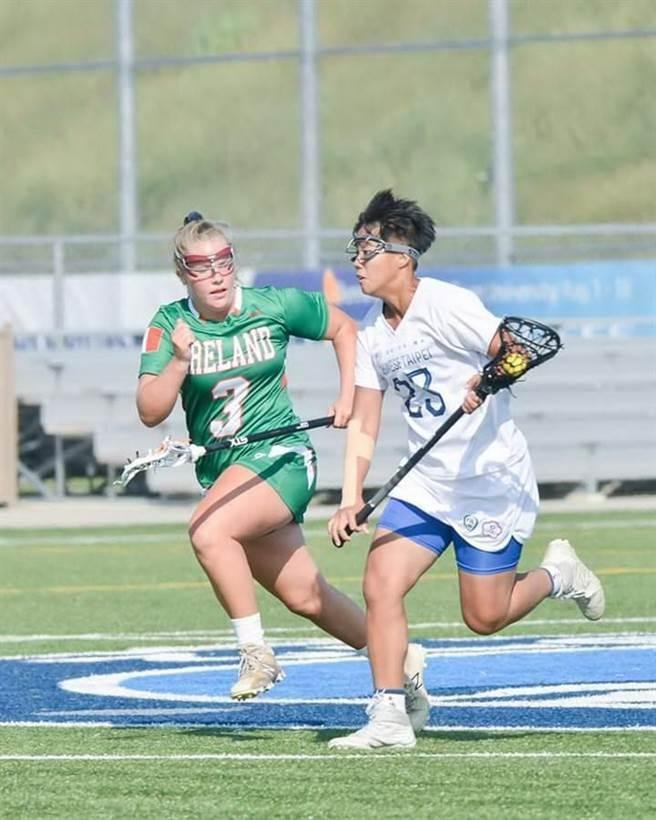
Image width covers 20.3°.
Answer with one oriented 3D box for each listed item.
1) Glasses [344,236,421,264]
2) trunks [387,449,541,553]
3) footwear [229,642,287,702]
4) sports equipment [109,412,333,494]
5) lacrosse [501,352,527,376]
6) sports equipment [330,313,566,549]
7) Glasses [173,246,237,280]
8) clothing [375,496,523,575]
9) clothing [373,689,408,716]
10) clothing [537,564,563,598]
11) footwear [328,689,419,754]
[{"bbox_3d":[0.198,-0.573,6.624,0.176,0.043,0.138,13,-12,-9],"label":"Glasses"},{"bbox_3d":[0.467,0.390,6.751,0.471,0.171,0.419,25,52,6],"label":"trunks"},{"bbox_3d":[-0.256,0.941,6.540,0.175,0.184,0.243,-7,5,0],"label":"footwear"},{"bbox_3d":[-0.374,0.163,6.872,0.835,0.185,0.358,-6,5,-4],"label":"sports equipment"},{"bbox_3d":[0.647,-0.156,6.407,0.084,0.064,0.095,-1,16,8],"label":"lacrosse"},{"bbox_3d":[0.475,0.025,6.608,0.779,0.685,0.430,-6,6,6],"label":"sports equipment"},{"bbox_3d":[-0.444,-0.536,6.735,0.206,0.109,0.111,-6,6,-4],"label":"Glasses"},{"bbox_3d":[0.434,0.479,6.657,0.471,0.106,0.270,23,-2,-4],"label":"clothing"},{"bbox_3d":[0.220,1.025,6.384,0.086,0.066,0.106,-1,-1,45],"label":"clothing"},{"bbox_3d":[0.896,0.689,7.308,0.149,0.112,0.118,-5,6,-8],"label":"clothing"},{"bbox_3d":[0.133,1.080,6.315,0.361,0.188,0.162,-1,0,-35],"label":"footwear"}]
